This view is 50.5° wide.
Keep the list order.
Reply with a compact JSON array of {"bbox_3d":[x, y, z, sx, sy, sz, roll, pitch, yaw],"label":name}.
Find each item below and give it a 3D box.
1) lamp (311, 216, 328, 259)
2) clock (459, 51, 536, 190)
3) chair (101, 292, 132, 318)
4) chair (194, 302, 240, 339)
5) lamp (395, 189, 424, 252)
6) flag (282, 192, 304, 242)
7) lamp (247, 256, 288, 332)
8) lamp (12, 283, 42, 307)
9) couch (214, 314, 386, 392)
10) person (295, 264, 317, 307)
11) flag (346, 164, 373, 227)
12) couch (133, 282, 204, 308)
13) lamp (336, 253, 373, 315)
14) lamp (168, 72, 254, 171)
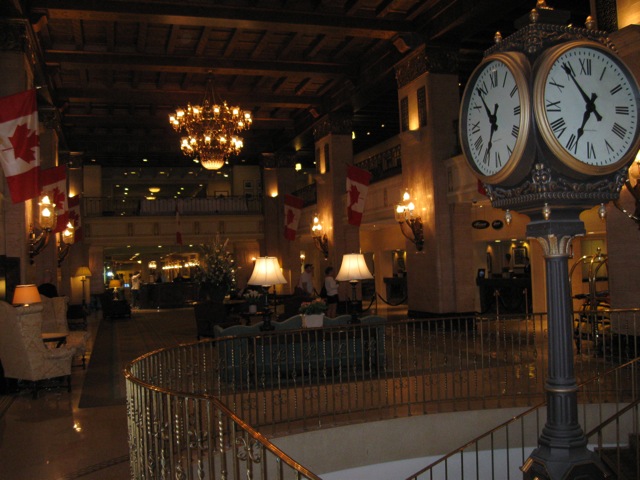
[{"bbox_3d":[0.007,-0.109,19.291,0.420,1.376,1.045,-2,-5,-2],"label":"lamp"},{"bbox_3d":[1.330,-0.926,5.192,0.113,0.982,0.636,1,-6,-38],"label":"clock"},{"bbox_3d":[-6.673,2.112,21.978,1.024,1.221,0.870,1,0,-14],"label":"chair"},{"bbox_3d":[-2.261,1.739,14.028,0.665,0.804,0.663,5,1,38],"label":"chair"},{"bbox_3d":[1.924,-0.406,14.581,0.540,1.237,0.557,-7,-18,38],"label":"lamp"},{"bbox_3d":[-0.781,-0.664,19.099,0.491,1.237,0.964,-2,-5,-2],"label":"flag"},{"bbox_3d":[-0.772,0.777,9.901,0.567,1.086,0.586,1,-3,-29],"label":"lamp"},{"bbox_3d":[-4.530,0.859,10.452,0.356,0.374,0.368,8,12,41],"label":"lamp"},{"bbox_3d":[-0.323,2.040,10.195,2.627,1.105,0.971,-3,-46,-3],"label":"couch"},{"bbox_3d":[-0.399,1.240,17.506,0.371,1.328,0.496,5,20,-3],"label":"person"},{"bbox_3d":[0.835,-1.024,14.937,0.375,1.320,0.900,0,-6,-22],"label":"flag"},{"bbox_3d":[-5.959,2.109,25.664,1.847,0.961,1.075,-3,-5,-1],"label":"couch"},{"bbox_3d":[0.517,0.796,10.287,0.565,1.161,0.556,-2,0,-44],"label":"lamp"},{"bbox_3d":[-2.374,-2.599,14.634,1.699,2.301,1.732,0,-5,-20],"label":"lamp"}]
